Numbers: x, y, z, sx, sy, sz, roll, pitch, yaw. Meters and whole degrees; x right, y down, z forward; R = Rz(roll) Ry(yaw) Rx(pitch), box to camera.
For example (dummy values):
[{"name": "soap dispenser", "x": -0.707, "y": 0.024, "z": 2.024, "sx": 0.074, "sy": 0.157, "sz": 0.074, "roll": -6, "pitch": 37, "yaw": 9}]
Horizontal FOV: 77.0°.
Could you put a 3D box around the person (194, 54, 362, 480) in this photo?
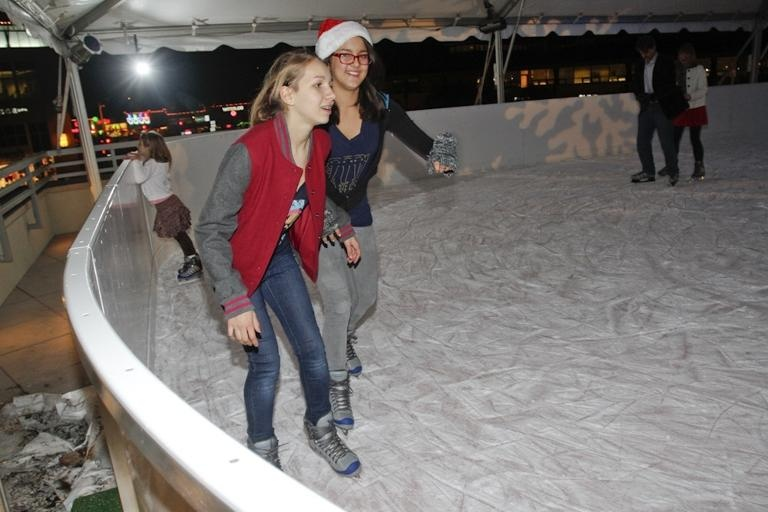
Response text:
[{"name": "person", "x": -0.454, "y": 0.097, "z": 2.473, "sx": 0.523, "sy": 2.165, "sz": 0.948, "roll": 2, "pitch": 18, "yaw": 19}]

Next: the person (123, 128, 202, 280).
[{"name": "person", "x": -2.482, "y": -0.566, "z": 5.405, "sx": 0.490, "sy": 1.619, "sz": 0.709, "roll": -12, "pitch": 19, "yaw": -23}]

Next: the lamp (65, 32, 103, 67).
[{"name": "lamp", "x": -4.200, "y": -2.865, "z": 6.722, "sx": 0.433, "sy": 0.408, "sz": 0.427, "roll": -17, "pitch": 11, "yaw": 37}]

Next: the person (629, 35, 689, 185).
[{"name": "person", "x": 3.977, "y": -2.079, "z": 7.000, "sx": 0.668, "sy": 2.089, "sz": 0.652, "roll": 4, "pitch": 19, "yaw": 25}]

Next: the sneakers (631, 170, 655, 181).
[{"name": "sneakers", "x": 3.955, "y": -1.204, "z": 7.376, "sx": 0.368, "sy": 0.152, "sz": 0.169, "roll": 9, "pitch": 33, "yaw": 33}]
